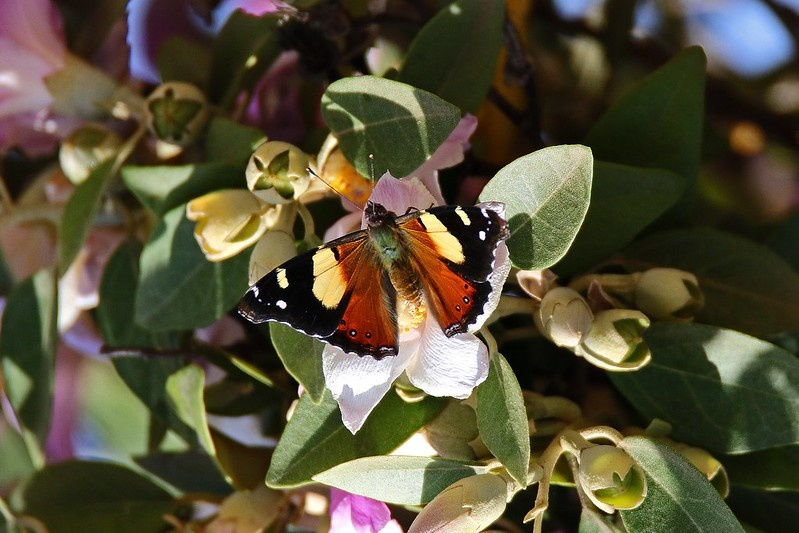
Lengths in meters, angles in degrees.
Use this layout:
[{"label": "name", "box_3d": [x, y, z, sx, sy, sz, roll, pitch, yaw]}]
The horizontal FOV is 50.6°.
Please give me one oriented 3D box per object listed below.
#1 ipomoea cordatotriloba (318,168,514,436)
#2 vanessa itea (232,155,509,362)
[{"label": "ipomoea cordatotriloba", "box_3d": [0.026, 0.068, 1.121, 0.217, 0.337, 0.145, 18, -17, 10]}, {"label": "vanessa itea", "box_3d": [0.004, 0.000, 1.155, 0.394, 0.240, 0.111, -20, 12, 26]}]
